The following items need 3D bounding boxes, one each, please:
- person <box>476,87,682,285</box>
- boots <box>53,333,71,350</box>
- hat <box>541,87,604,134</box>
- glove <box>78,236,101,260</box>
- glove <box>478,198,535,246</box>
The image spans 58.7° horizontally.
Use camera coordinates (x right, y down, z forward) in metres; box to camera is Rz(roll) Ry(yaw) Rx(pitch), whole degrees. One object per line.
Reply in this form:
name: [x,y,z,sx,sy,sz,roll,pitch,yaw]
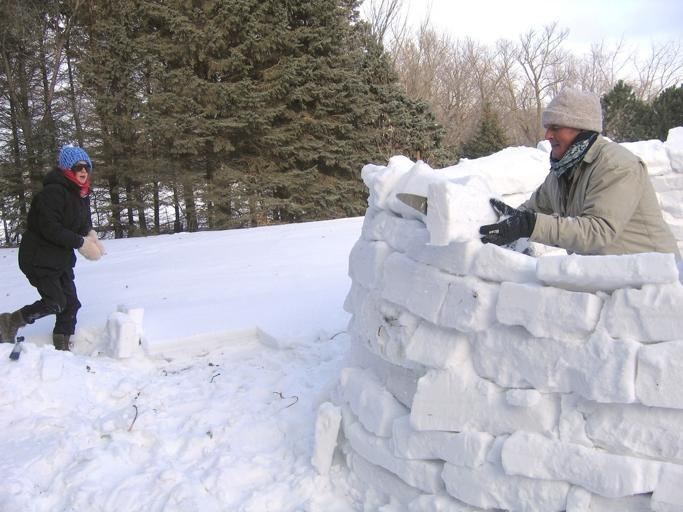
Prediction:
person: [1.770,-0.589,4.225,1.043,1.200,1.182,4,10,30]
boots: [-2.863,0.874,6.234,0.150,0.170,0.127,0,4,-13]
hat: [1.731,-1.081,4.625,0.387,0.277,0.394,18,12,-37]
glove: [-2.611,-0.090,6.304,0.132,0.142,0.254,-21,51,-34]
glove: [1.088,-0.214,4.044,0.312,0.217,0.106,-12,-12,2]
